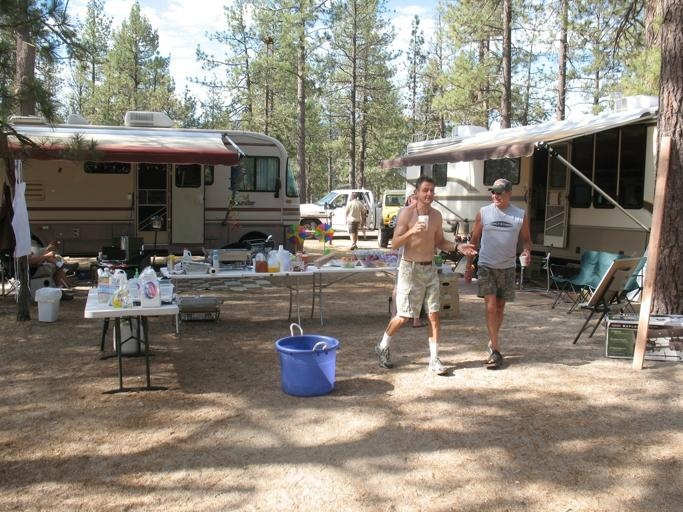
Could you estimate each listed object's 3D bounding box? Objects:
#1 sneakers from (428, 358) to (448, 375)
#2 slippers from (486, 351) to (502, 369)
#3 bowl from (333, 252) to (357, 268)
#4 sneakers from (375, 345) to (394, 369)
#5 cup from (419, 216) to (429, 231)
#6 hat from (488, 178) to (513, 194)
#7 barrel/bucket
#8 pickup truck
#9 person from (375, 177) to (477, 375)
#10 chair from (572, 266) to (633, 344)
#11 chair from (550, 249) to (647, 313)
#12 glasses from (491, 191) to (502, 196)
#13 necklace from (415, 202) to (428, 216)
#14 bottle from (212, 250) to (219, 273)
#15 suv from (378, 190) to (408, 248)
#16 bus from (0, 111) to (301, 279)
[{"bbox_3d":[1.064,1.167,6.603,0.106,0.169,0.250,4,-10,-33],"label":"sneakers"},{"bbox_3d":[1.672,1.100,6.851,0.179,0.178,0.319,3,12,14],"label":"slippers"},{"bbox_3d":[0.096,0.062,8.476,0.255,0.115,0.243,0,2,0],"label":"bowl"},{"bbox_3d":[0.506,1.095,6.909,0.110,0.138,0.304,7,29,-34],"label":"sneakers"},{"bbox_3d":[0.857,-0.338,6.482,0.134,0.141,0.132,-1,9,0],"label":"cup"},{"bbox_3d":[1.739,-0.755,6.846,0.223,0.145,0.185,-11,15,-42],"label":"hat"},{"bbox_3d":[-0.364,1.035,6.208,0.648,0.538,0.765,-1,2,-22],"label":"barrel/bucket"},{"bbox_3d":[0.005,-1.450,21.496,2.756,1.491,1.740,-1,4,-16],"label":"pickup truck"},{"bbox_3d":[0.852,0.198,6.739,0.938,2.051,0.741,1,12,6],"label":"person"},{"bbox_3d":[3.243,0.513,7.810,0.590,1.143,1.115,5,13,25],"label":"chair"},{"bbox_3d":[3.833,0.313,9.801,0.989,0.922,1.362,0,0,-15],"label":"chair"},{"bbox_3d":[1.672,-0.681,6.786,0.058,0.016,0.055,44,-23,-26],"label":"glasses"},{"bbox_3d":[0.866,-0.489,6.731,0.096,0.130,0.136,-1,-8,-1],"label":"necklace"},{"bbox_3d":[-1.616,0.068,8.204,0.096,0.241,0.208,-2,12,-11],"label":"bottle"},{"bbox_3d":[1.902,-1.222,20.545,1.276,1.429,2.384,0,2,-2],"label":"suv"},{"bbox_3d":[-3.198,-1.186,11.744,5.005,2.087,2.920,-2,9,-19],"label":"bus"}]
